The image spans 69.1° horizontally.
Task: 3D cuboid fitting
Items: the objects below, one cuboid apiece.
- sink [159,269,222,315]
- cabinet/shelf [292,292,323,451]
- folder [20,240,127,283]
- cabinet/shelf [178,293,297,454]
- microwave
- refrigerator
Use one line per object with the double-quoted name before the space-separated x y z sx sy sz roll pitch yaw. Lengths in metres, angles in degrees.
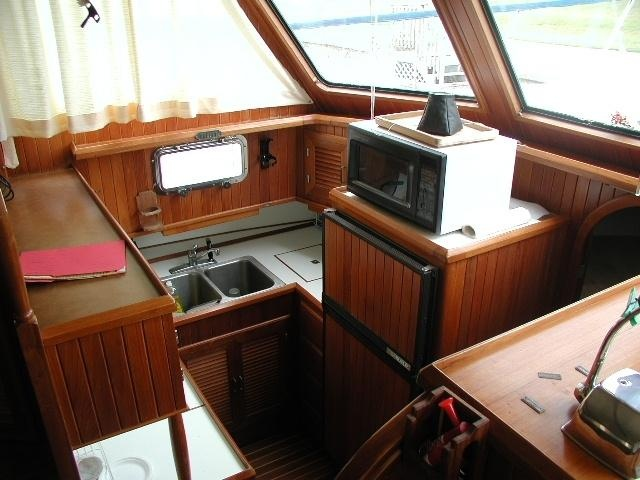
"sink" -0.827 0.331 2.952 0.164 0.248 0.172 -18 59 -28
"cabinet/shelf" -0.061 0.879 3.196 0.129 1.098 0.389 -13 20 -22
"folder" -1.001 0.107 1.923 0.356 0.061 0.255 -9 41 -23
"cabinet/shelf" -0.693 0.869 3.472 0.867 1.246 0.682 -15 27 -26
"microwave" 0.500 -0.329 2.280 0.469 0.365 0.653 -14 28 -29
"refrigerator" 0.591 0.587 2.731 0.981 1.782 0.926 -23 35 -36
